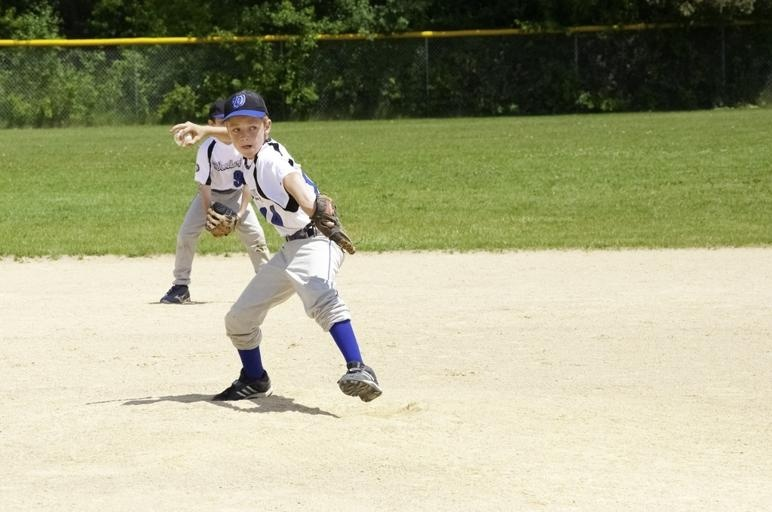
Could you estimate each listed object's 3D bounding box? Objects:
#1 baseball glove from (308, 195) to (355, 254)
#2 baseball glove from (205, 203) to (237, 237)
[{"bbox_3d":[-0.629,-0.347,15.658,0.304,0.677,0.396,-38,24,38],"label":"baseball glove"},{"bbox_3d":[-2.156,-0.462,17.426,0.215,0.342,0.471,15,9,-46],"label":"baseball glove"}]
